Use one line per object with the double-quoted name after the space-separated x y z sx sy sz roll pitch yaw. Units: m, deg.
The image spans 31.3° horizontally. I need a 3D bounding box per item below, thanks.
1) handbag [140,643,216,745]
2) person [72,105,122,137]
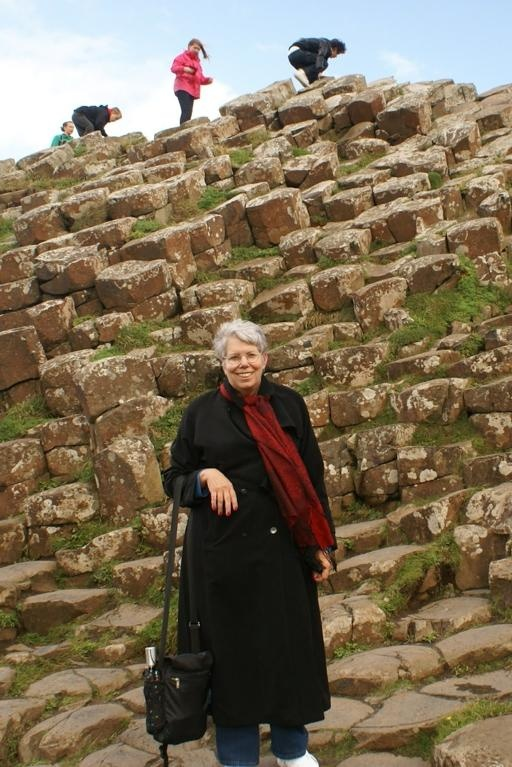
-0.359 1.492 4.338 0.343 0.326 0.173 -8 4 -5 "handbag"
-3.365 -5.533 19.375 1.006 0.548 1.151 -7 3 -8 "person"
